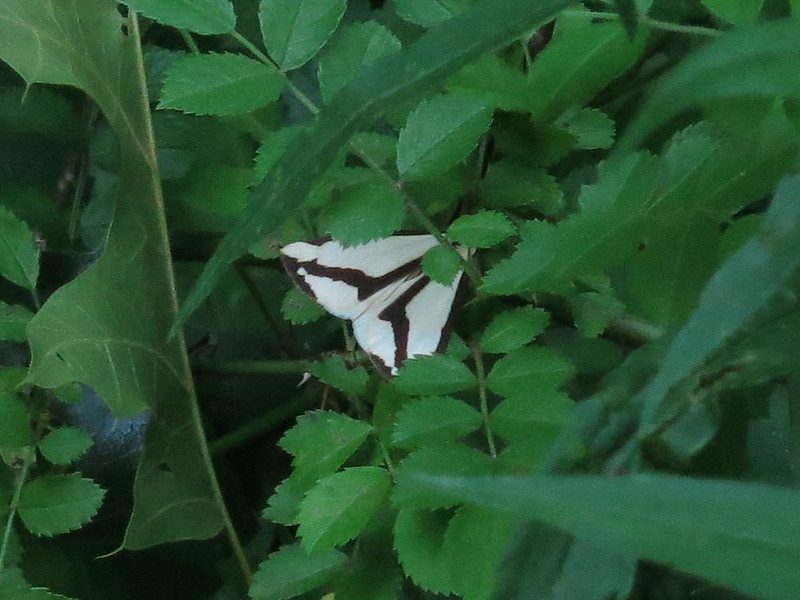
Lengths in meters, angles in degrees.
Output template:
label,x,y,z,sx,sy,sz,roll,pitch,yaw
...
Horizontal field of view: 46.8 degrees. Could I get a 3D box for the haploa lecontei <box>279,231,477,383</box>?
label,x,y,z,sx,sy,sz,roll,pitch,yaw
haploa lecontei,-0.024,0.002,0.790,0.147,0.125,0.053,7,-21,-19
